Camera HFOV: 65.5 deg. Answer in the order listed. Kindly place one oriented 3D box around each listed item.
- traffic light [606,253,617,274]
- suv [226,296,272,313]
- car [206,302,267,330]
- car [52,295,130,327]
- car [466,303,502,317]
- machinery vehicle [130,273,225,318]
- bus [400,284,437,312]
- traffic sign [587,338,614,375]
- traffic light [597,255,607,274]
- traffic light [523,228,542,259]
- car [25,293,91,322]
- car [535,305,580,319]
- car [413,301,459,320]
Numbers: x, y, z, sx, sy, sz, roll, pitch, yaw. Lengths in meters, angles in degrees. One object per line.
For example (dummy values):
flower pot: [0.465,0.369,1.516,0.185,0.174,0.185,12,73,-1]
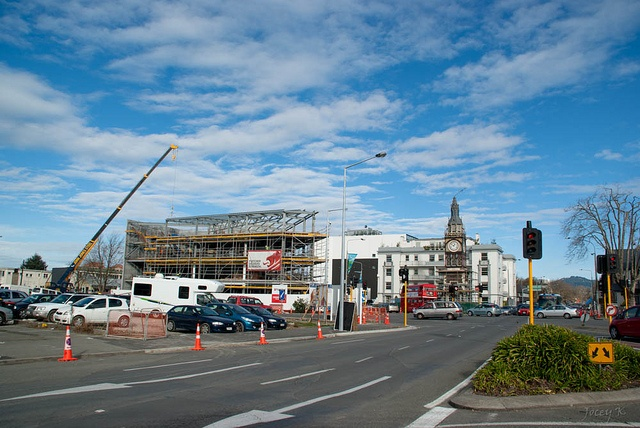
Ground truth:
traffic light: [16.098,2.657,27.291,0.491,1.014,1.058,-4,-14,27]
suv: [-6.385,7.729,41.523,4.401,1.605,2.094,-3,-5,7]
car: [-5.681,6.356,31.529,4.335,1.251,1.844,3,2,27]
car: [-12.672,5.300,27.281,3.632,1.175,2.012,9,-12,-39]
car: [20.941,12.171,63.319,2.585,1.478,3.359,11,-15,-39]
machinery vehicle: [-11.001,5.720,36.059,7.509,2.559,2.354,0,-2,-2]
bus: [14.269,11.874,71.046,3.087,2.812,4.737,8,-13,-25]
traffic sign: [8.221,4.086,14.481,0.663,0.819,0.754,-3,-14,24]
traffic light: [15.643,2.706,27.392,0.459,0.903,0.673,-2,-14,20]
traffic light: [8.470,1.150,19.687,0.551,1.226,0.816,7,-14,-16]
car: [-16.225,5.538,29.758,2.101,1.125,4.127,-7,-12,41]
car: [26.045,10.651,54.441,4.280,0.997,1.700,-2,-9,29]
car: [13.046,10.416,54.353,4.696,1.900,1.516,0,-13,10]
